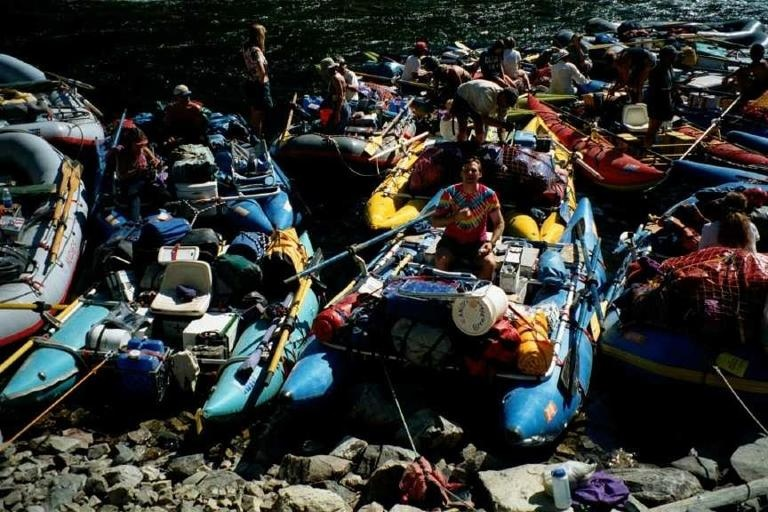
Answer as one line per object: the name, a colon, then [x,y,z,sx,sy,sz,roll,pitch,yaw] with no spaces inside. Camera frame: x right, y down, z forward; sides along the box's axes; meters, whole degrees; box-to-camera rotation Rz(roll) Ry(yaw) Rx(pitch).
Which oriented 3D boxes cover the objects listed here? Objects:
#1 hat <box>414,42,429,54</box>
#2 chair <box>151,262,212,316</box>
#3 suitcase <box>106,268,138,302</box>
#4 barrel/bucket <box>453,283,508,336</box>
hat: [0.920,-5.091,14.853,0.329,0.219,0.410,4,58,9]
chair: [-2.572,0.453,7.929,0.755,0.436,0.698,4,41,5]
suitcase: [-3.542,0.416,8.238,0.226,0.223,0.392,4,30,-31]
barrel/bucket: [1.170,0.629,6.990,0.587,0.546,0.586,-6,5,1]
